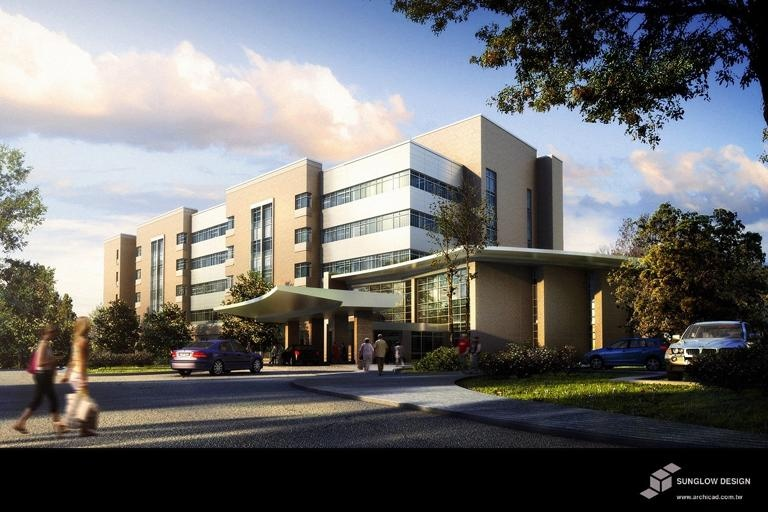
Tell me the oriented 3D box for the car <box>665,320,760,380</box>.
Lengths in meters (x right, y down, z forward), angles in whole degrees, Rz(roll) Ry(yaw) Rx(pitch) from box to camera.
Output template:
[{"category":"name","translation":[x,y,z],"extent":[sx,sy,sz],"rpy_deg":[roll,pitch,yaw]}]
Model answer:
[{"category":"car","translation":[11.107,3.217,24.607],"extent":[2.625,1.997,1.824],"rpy_deg":[-4,-10,21]}]

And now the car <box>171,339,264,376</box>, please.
[{"category":"car","translation":[-7.719,4.808,33.973],"extent":[1.838,1.335,4.182],"rpy_deg":[-6,-6,41]}]

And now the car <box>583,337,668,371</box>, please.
[{"category":"car","translation":[11.802,4.751,34.506],"extent":[3.530,1.179,1.535],"rpy_deg":[-4,-10,42]}]

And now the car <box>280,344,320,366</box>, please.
[{"category":"car","translation":[-5.581,6.478,46.512],"extent":[1.196,0.822,2.575],"rpy_deg":[1,-5,-24]}]
